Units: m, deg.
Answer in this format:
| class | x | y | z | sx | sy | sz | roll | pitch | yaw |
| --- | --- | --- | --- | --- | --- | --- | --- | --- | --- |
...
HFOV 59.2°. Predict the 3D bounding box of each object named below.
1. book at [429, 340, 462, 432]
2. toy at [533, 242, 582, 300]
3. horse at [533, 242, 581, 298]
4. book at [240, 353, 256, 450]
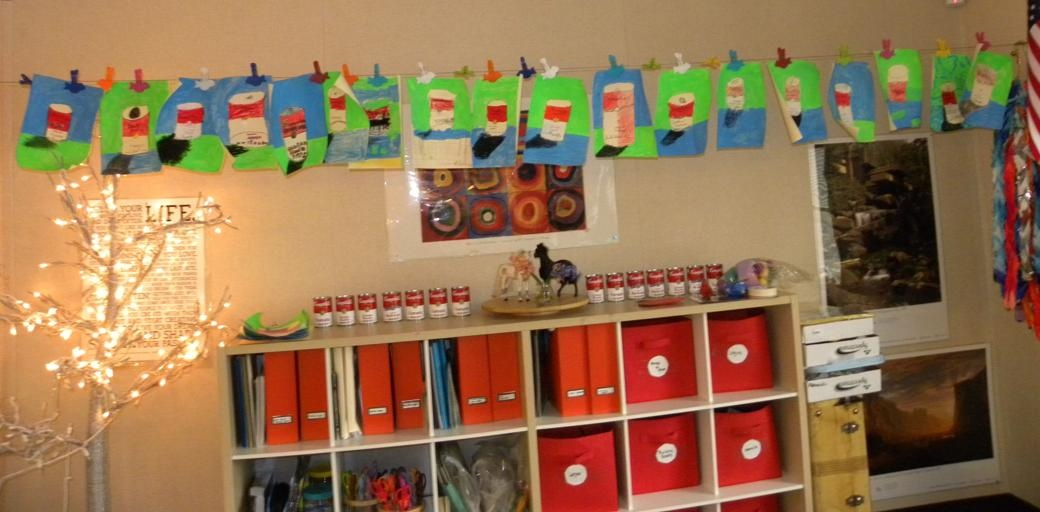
| class | x | y | z | sx | sy | sz | roll | pitch | yaw |
| --- | --- | --- | --- | --- | --- | --- | --- | --- | --- |
| book | -0.559 | 0.958 | 6.818 | 0.241 | 0.664 | 0.089 | -8 | 0 | -23 |
| toy | 0.280 | 0.108 | 7.208 | 0.482 | 0.445 | 0.327 | 1 | 1 | 19 |
| horse | 0.279 | 0.098 | 7.012 | 0.401 | 0.376 | 0.258 | 3 | 4 | 16 |
| book | -1.975 | 1.072 | 6.711 | 0.110 | 0.674 | 0.020 | -9 | 0 | -15 |
